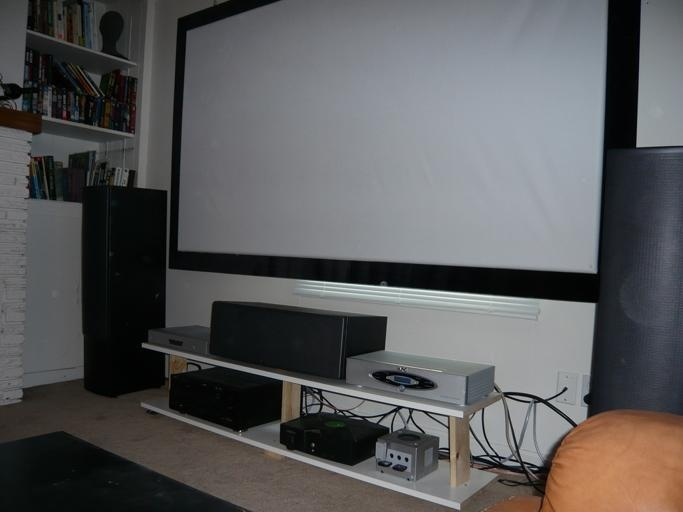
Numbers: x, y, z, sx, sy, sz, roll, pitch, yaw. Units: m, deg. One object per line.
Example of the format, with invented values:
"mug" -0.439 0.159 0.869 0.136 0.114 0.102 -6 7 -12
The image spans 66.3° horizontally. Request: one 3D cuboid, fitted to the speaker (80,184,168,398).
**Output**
"speaker" -1.491 0.194 3.595 0.469 1.303 0.440 1 -3 -37
